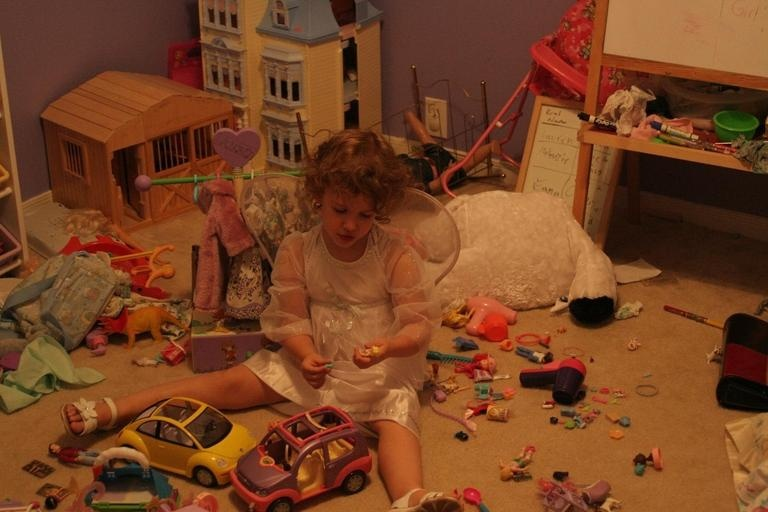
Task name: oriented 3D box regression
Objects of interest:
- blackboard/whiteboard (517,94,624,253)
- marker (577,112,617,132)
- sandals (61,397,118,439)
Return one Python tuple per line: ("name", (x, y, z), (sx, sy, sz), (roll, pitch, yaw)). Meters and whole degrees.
("blackboard/whiteboard", (0.887, -0.394, 3.262), (0.306, 0.664, 0.548), (-18, 35, -24))
("marker", (0.933, -0.585, 2.850), (0.175, 0.042, 0.035), (26, 1, 17))
("sandals", (-0.965, 0.523, 2.141), (0.052, 0.099, 0.181), (-22, -6, 37))
